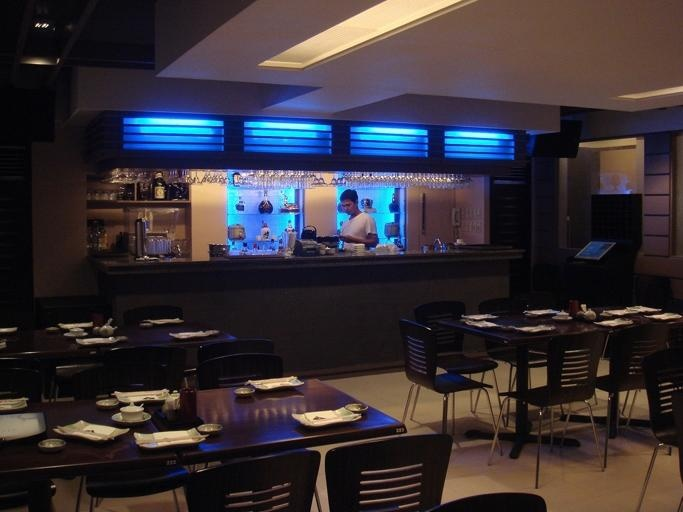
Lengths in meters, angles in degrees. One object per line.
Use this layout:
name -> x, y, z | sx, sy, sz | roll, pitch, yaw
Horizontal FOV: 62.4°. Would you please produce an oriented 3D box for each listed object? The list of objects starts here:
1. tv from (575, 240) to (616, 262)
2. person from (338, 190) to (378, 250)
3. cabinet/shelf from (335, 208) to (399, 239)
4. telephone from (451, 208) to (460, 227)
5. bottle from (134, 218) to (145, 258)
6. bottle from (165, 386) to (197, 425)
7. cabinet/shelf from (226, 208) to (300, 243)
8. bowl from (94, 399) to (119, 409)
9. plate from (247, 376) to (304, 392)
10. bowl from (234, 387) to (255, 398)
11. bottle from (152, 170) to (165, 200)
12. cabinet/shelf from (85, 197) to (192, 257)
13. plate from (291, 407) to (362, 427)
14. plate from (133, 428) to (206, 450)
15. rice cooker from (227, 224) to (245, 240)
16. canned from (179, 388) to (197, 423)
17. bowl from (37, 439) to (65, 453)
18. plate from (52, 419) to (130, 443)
tv -> 3.905, -0.069, 8.670 | 0.370, 0.312, 0.481 | -3, 7, -27
person -> 0.260, -0.548, 8.528 | 0.548, 0.903, 0.749 | 0, 6, -1
cabinet/shelf -> 0.515, -0.500, 9.329 | 1.304, 0.448, 1.112 | 1, 6, -4
telephone -> 2.077, -0.682, 10.156 | 0.164, 0.325, 0.088 | 2, 6, 15
bottle -> -2.394, -0.216, 6.733 | 0.101, 0.420, 0.287 | -2, 7, -21
bottle -> -0.818, 0.774, 2.912 | 0.200, 0.193, 0.114 | 1, 0, 35
cabinet/shelf -> -1.232, -0.540, 9.101 | 1.074, 0.518, 0.531 | 0, -1, -26
bowl -> -1.307, 0.824, 3.151 | 0.117, 0.030, 0.154 | -3, 7, -27
plate -> -0.413, 0.804, 3.565 | 0.338, 0.052, 0.250 | -2, 7, -21
bowl -> -0.576, 0.815, 3.388 | 0.110, 0.033, 0.140 | 2, 6, 15
bottle -> -2.650, -0.995, 8.223 | 0.209, 0.352, 0.513 | -2, 7, -19
cabinet/shelf -> -2.677, -0.353, 7.716 | 1.462, 0.809, 1.897 | -2, 7, -24
plate -> -0.070, 0.850, 2.959 | 0.373, 0.038, 0.232 | 0, 6, -6
plate -> -0.820, 0.873, 2.697 | 0.324, 0.033, 0.205 | -2, 7, -18
rice cooker -> -1.629, -0.344, 8.741 | 0.252, 0.246, 0.242 | -1, 6, -15
canned -> -0.795, 0.772, 2.925 | 0.082, 0.157, 0.094 | -3, 7, -29
bowl -> -1.339, 0.874, 2.610 | 0.111, 0.029, 0.134 | -3, 7, -27
plate -> -1.244, 0.857, 2.782 | 0.358, 0.046, 0.208 | 3, 7, 20
